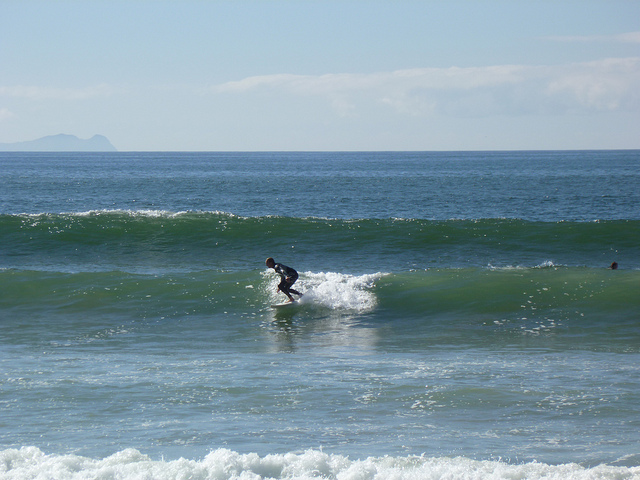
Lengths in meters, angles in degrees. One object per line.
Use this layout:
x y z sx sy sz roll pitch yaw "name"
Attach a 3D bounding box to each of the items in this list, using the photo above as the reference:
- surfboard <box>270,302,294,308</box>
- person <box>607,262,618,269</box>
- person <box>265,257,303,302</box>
-1.294 2.115 43.748 0.815 0.169 0.245 1 4 25 "surfboard"
10.508 0.911 48.037 0.330 0.306 0.874 0 -7 8 "person"
-1.230 1.382 45.021 1.121 1.576 0.764 -14 28 16 "person"
